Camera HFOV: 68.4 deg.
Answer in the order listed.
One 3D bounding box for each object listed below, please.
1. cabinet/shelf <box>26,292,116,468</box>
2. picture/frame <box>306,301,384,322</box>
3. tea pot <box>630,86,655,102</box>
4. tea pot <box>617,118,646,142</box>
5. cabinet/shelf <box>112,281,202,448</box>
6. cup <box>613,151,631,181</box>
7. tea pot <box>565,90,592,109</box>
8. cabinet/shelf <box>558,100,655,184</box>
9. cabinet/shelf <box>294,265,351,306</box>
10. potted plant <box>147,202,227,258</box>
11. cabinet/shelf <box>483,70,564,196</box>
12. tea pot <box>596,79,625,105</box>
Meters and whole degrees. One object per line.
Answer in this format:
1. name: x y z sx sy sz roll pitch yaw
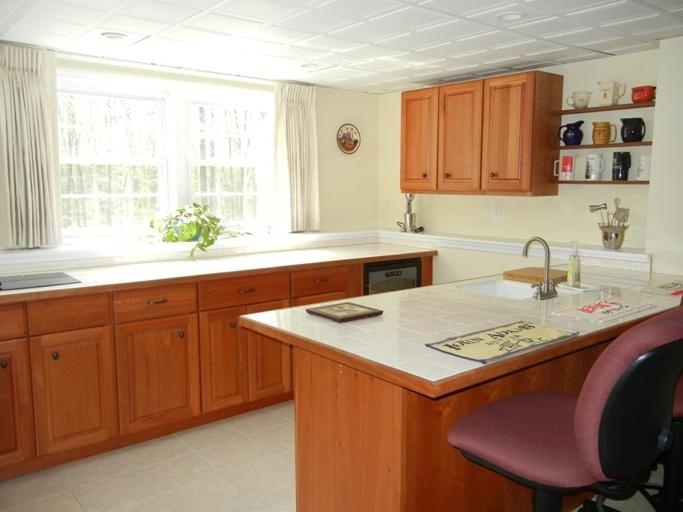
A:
1. cabinet/shelf: -1.583 0.684 2.971 0.469 0.895 0.150 -6 13 -24
2. picture/frame: 0.000 0.262 2.441 0.309 0.032 0.291 -7 12 -34
3. tea pot: 2.164 -1.157 3.606 0.168 0.134 0.110 8 14 39
4. tea pot: 2.110 -0.913 3.689 0.217 0.194 0.151 7 0 26
5. cabinet/shelf: -1.179 0.639 3.233 0.554 0.892 0.178 -6 13 -23
6. cup: 2.093 -0.670 3.754 0.123 0.210 0.147 5 13 26
7. tea pot: 1.870 -1.219 3.936 0.197 0.123 0.148 -3 9 -1
8. cabinet/shelf: 2.033 -0.863 3.813 0.248 0.602 0.748 -6 7 -37
9. cabinet/shelf: -0.150 0.219 3.934 0.475 0.394 0.293 -5 8 -38
10. potted plant: -1.278 -0.249 4.062 0.567 0.350 0.332 6 13 32
11. cabinet/shelf: 1.533 -0.989 4.219 0.686 0.934 0.645 1 14 14
12. tea pot: 2.031 -1.236 3.777 0.143 0.189 0.253 -14 18 -39
